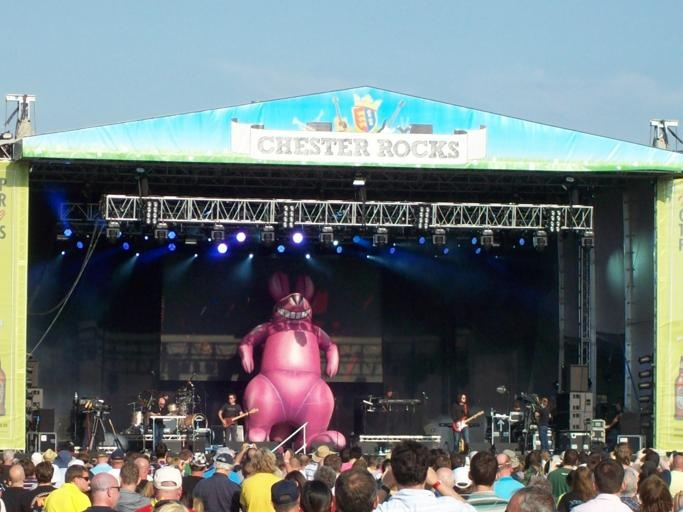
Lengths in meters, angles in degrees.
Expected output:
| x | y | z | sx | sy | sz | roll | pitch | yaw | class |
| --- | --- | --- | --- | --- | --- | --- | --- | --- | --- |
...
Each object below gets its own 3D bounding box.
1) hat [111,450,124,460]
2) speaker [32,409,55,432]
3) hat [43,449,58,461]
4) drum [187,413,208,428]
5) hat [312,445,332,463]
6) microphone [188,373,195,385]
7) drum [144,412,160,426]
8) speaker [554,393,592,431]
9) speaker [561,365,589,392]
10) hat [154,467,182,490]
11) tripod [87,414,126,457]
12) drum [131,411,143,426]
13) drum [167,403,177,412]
| x | y | z | sx | sy | sz | roll | pitch | yaw | class |
| --- | --- | --- | --- | --- | --- | --- | --- | --- | --- |
| -3.658 | 3.273 | 29.153 | 0.127 | 0.170 | 0.171 | 2 | -9 | -9 | hat |
| -6.251 | 3.460 | 37.214 | 0.473 | 0.451 | 0.850 | 6 | -9 | -31 | speaker |
| -4.806 | 3.316 | 29.312 | 0.199 | 0.095 | 0.263 | 7 | 31 | -24 | hat |
| -3.122 | 3.625 | 38.635 | 0.385 | 0.384 | 0.445 | 1 | -8 | -19 | drum |
| -0.324 | 3.323 | 29.615 | 0.266 | 0.125 | 0.313 | 2 | 30 | 8 | hat |
| -3.386 | 2.783 | 40.262 | 0.168 | 0.265 | 0.185 | 1 | -9 | -10 | microphone |
| -4.053 | 3.517 | 38.157 | 0.338 | 0.324 | 0.604 | 3 | -1 | -17 | drum |
| 4.975 | 3.273 | 37.476 | 0.744 | 0.882 | 0.939 | 1 | 3 | -6 | speaker |
| 5.072 | 2.599 | 37.715 | 0.571 | 0.685 | 0.705 | 1 | -4 | -5 | speaker |
| -2.628 | 3.377 | 26.927 | 0.408 | 0.371 | 0.298 | 1 | -8 | -7 | hat |
| -4.988 | 3.828 | 37.515 | 0.811 | 0.976 | 0.748 | 2 | -16 | -21 | tripod |
| -4.436 | 3.575 | 38.731 | 0.301 | 0.458 | 0.289 | 0 | -1 | 0 | drum |
| -3.687 | 3.341 | 38.756 | 0.195 | 0.203 | 0.184 | 1 | -1 | -6 | drum |
